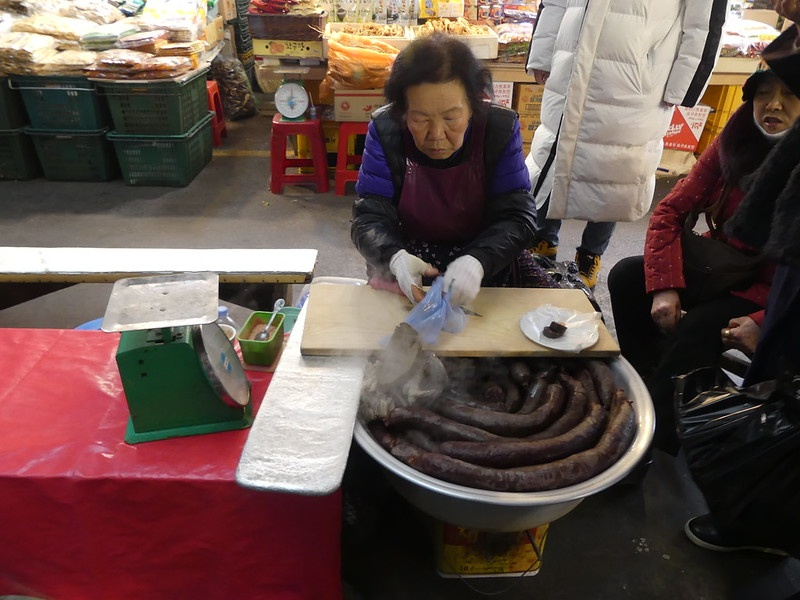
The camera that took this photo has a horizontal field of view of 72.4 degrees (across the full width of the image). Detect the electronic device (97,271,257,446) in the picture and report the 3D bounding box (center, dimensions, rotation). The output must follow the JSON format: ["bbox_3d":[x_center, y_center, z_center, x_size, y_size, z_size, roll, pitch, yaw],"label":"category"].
[{"bbox_3d":[-0.799,0.206,1.994,0.476,0.476,0.417,-4,27,-13],"label":"electronic device"}]

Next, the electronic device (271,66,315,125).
[{"bbox_3d":[-1.081,-2.047,5.466,0.383,0.459,0.347,-11,32,-22],"label":"electronic device"}]

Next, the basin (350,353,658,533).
[{"bbox_3d":[0.419,0.641,2.001,1.121,0.517,0.464,-7,35,-12],"label":"basin"}]

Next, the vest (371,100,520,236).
[{"bbox_3d":[0.214,-0.649,2.888,0.905,0.842,0.488,-2,59,-1],"label":"vest"}]

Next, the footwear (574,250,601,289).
[{"bbox_3d":[1.398,-0.229,4.055,0.134,0.366,0.155,-5,-4,20],"label":"footwear"}]

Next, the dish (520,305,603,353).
[{"bbox_3d":[0.653,0.111,2.219,0.311,0.073,0.263,16,37,21],"label":"dish"}]

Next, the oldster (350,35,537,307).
[{"bbox_3d":[0.233,-0.533,2.603,0.942,1.249,0.772,-2,34,-4],"label":"oldster"}]

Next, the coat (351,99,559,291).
[{"bbox_3d":[0.216,-0.405,3.106,1.224,1.198,0.914,1,55,4],"label":"coat"}]

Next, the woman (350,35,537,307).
[{"bbox_3d":[0.233,-0.532,2.601,0.942,1.249,0.776,-2,34,-4],"label":"woman"}]

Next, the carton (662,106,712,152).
[{"bbox_3d":[3.363,-1.978,6.253,0.418,0.491,0.535,-20,32,-34],"label":"carton"}]

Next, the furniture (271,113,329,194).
[{"bbox_3d":[-1.112,-1.523,5.978,0.651,0.731,0.659,-2,13,-11],"label":"furniture"}]

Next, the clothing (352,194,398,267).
[{"bbox_3d":[-0.119,-0.337,2.707,0.219,0.145,0.396,-2,45,-4],"label":"clothing"}]

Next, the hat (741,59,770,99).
[{"bbox_3d":[1.729,-1.037,2.641,0.092,0.153,0.182,18,38,24],"label":"hat"}]
